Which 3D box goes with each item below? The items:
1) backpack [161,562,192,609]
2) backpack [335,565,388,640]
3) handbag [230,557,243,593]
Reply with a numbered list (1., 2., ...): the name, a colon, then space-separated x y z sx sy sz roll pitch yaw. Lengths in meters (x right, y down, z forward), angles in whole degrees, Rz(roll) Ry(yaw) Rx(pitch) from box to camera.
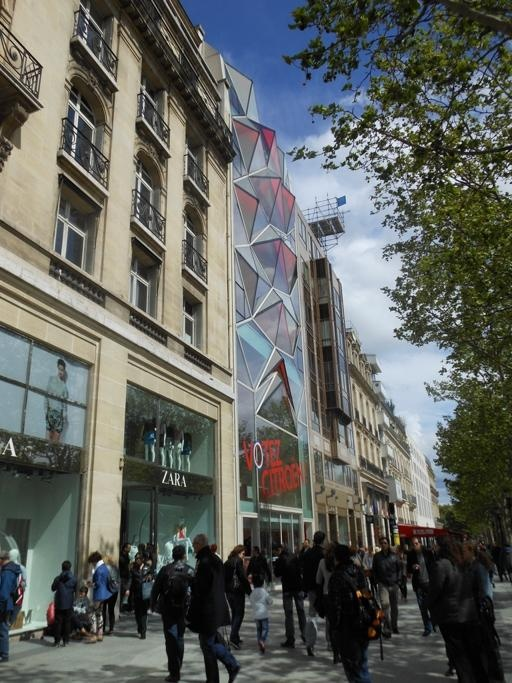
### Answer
1. backpack: -0.862 2.775 4.512 0.279 0.564 0.377 3 -22 -2
2. backpack: 0.717 1.868 2.906 0.331 0.432 0.321 -8 -21 13
3. handbag: -0.332 3.970 6.831 0.196 0.306 0.263 1 -1 -21
